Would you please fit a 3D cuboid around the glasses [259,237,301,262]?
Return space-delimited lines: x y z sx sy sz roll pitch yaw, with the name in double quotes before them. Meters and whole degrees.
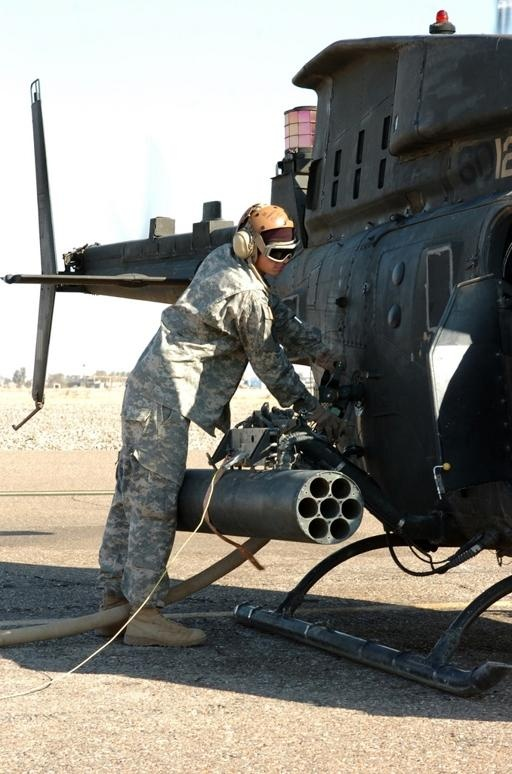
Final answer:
"glasses" 0.110 -0.579 3.738 0.100 0.059 0.126 -9 20 -27

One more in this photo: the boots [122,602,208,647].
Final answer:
"boots" -0.408 1.062 3.983 0.430 0.218 0.141 -3 5 -5

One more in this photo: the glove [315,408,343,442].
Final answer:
"glove" 0.334 0.173 3.958 0.110 0.050 0.155 30 -6 46

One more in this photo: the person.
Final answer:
"person" -0.163 0.178 3.914 1.020 1.944 0.649 2 -4 -5
